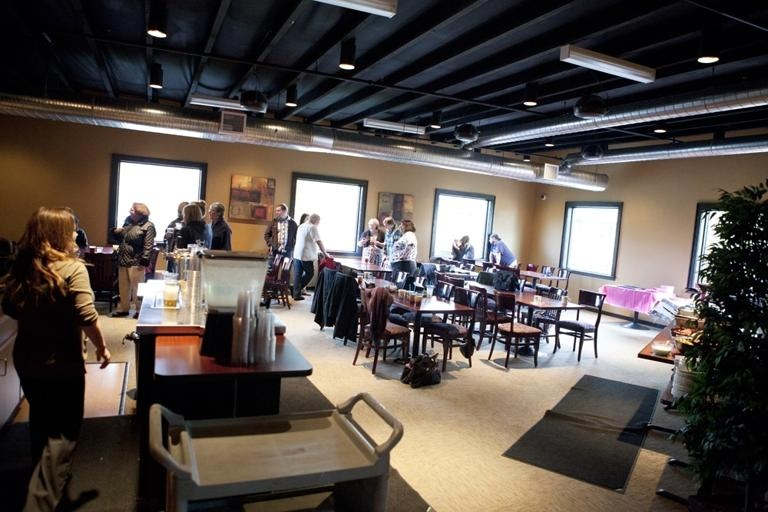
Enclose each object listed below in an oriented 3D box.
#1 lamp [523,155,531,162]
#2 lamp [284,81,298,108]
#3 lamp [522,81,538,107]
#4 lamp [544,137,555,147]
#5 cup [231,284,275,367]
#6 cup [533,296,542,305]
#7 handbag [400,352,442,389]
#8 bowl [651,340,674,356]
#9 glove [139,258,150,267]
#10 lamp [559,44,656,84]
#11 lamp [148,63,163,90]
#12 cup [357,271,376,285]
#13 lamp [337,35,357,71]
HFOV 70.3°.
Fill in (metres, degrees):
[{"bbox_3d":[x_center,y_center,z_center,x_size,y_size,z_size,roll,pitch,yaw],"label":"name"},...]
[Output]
[{"bbox_3d":[3.788,-2.600,14.438,0.182,0.120,0.257,7,12,7],"label":"lamp"},{"bbox_3d":[-1.494,-2.634,8.887,0.154,0.342,0.278,1,13,-18],"label":"lamp"},{"bbox_3d":[2.141,-2.364,7.956,0.178,0.293,0.255,7,13,8],"label":"lamp"},{"bbox_3d":[3.540,-2.427,11.681,0.183,0.189,0.184,0,0,35],"label":"lamp"},{"bbox_3d":[-0.987,0.545,4.156,0.331,0.543,0.256,2,13,-13],"label":"cup"},{"bbox_3d":[2.405,0.691,8.554,0.171,0.162,0.090,0,-6,-19],"label":"cup"},{"bbox_3d":[0.516,1.480,7.003,0.371,0.205,0.461,2,-4,-23],"label":"handbag"},{"bbox_3d":[3.103,1.032,6.072,0.176,0.078,0.174,-2,3,0],"label":"bowl"},{"bbox_3d":[-3.673,0.109,8.427,0.109,0.073,0.108,4,0,-4],"label":"glove"},{"bbox_3d":[2.640,-2.275,6.449,1.368,0.248,0.188,0,14,-22],"label":"lamp"},{"bbox_3d":[-3.555,-2.824,8.519,0.177,0.366,0.648,0,13,-24],"label":"lamp"},{"bbox_3d":[-0.277,0.361,9.314,0.140,0.191,0.453,1,8,11],"label":"cup"},{"bbox_3d":[-0.455,-2.544,6.840,0.166,0.376,0.214,2,13,-13],"label":"lamp"}]
